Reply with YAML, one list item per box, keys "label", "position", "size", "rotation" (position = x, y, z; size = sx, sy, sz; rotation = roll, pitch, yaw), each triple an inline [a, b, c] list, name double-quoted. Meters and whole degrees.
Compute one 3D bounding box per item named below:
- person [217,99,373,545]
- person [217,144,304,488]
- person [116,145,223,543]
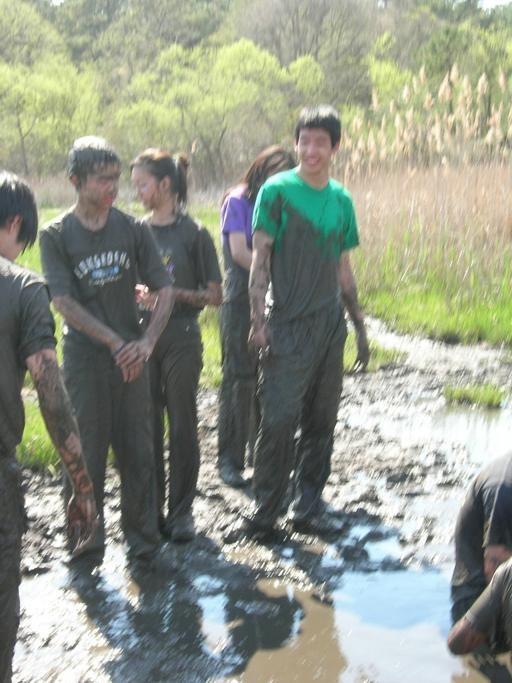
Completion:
- label: "person"
  position: [0.187, 0.111, 4.400]
  size: [0.440, 2.348, 0.588]
  rotation: [-1, 3, -15]
- label: "person"
  position: [-0.030, -0.130, 4.982]
  size: [0.322, 1.771, 0.364]
  rotation: [3, 4, -22]
- label: "person"
  position: [-0.427, -0.010, 4.378]
  size: [0.337, 1.714, 0.328]
  rotation: [-8, 10, -41]
